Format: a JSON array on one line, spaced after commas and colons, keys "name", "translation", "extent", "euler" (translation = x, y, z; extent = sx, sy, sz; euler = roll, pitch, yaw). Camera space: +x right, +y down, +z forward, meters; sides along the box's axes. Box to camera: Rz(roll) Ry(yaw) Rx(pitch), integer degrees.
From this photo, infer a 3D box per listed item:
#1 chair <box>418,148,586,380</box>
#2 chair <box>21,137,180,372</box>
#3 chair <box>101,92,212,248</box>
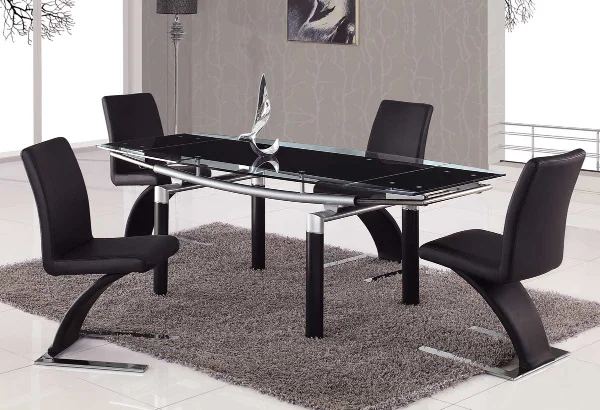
[{"name": "chair", "translation": [1.070, 0.272, 2.731], "extent": [0.722, 1.125, 0.489], "euler": [9, 18, 28]}, {"name": "chair", "translation": [-1.103, 0.260, 2.989], "extent": [0.847, 1.163, 0.786], "euler": [-1, 8, -20]}, {"name": "chair", "translation": [-1.232, -0.316, 4.725], "extent": [0.857, 1.333, 0.831], "euler": [7, 17, 13]}]
